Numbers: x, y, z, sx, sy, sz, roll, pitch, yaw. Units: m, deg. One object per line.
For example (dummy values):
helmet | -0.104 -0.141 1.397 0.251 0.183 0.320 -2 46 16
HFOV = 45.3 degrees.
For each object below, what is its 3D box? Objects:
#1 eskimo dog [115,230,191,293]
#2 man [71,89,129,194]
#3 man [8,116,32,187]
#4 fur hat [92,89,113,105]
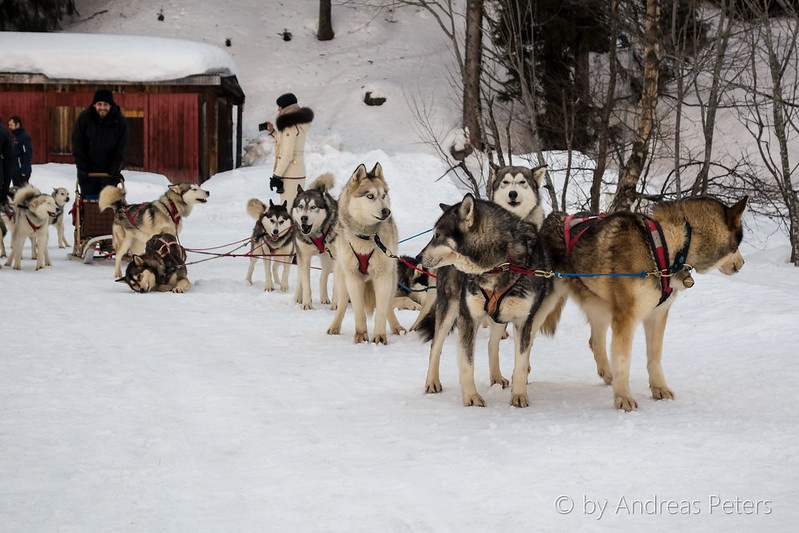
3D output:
eskimo dog | -4.128 0.001 16.751 0.881 0.940 1.796 -6 26 4
man | -5.651 -2.325 17.988 0.977 1.969 0.638 -2 13 -19
man | -8.266 -2.472 20.788 0.442 1.549 1.555 -2 14 -22
fur hat | -5.583 -3.182 17.975 0.345 0.281 0.377 2 1 -12
